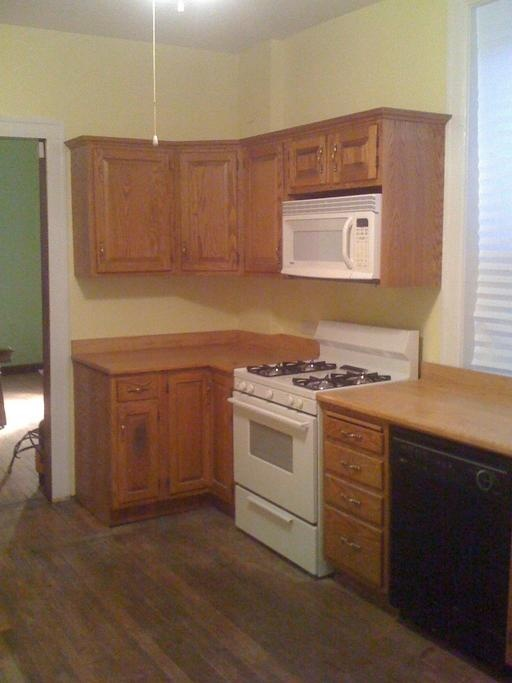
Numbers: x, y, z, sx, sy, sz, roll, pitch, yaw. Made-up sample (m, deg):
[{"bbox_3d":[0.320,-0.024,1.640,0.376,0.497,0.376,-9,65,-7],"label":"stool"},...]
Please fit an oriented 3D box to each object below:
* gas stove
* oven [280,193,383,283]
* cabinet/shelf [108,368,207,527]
[{"bbox_3d":[0.273,0.095,2.650,0.645,0.469,0.890,-2,0,-19],"label":"gas stove"},{"bbox_3d":[0.364,-0.445,2.398,0.278,0.344,0.523,-9,14,-39],"label":"oven"},{"bbox_3d":[-0.461,0.579,2.995,0.547,0.819,0.378,-7,-25,3],"label":"cabinet/shelf"}]
